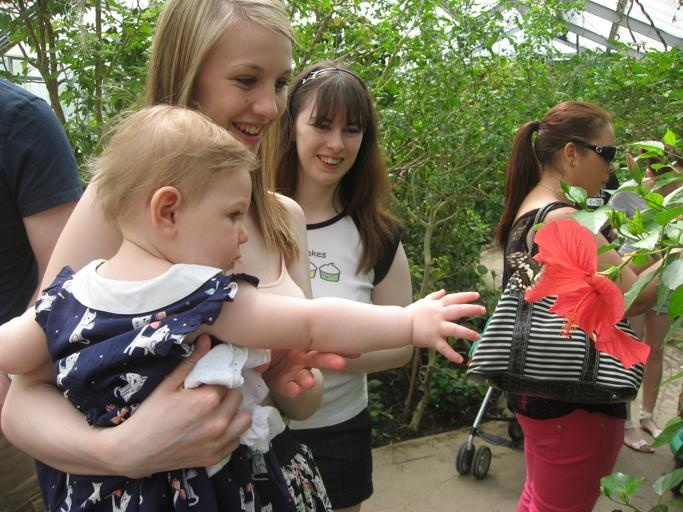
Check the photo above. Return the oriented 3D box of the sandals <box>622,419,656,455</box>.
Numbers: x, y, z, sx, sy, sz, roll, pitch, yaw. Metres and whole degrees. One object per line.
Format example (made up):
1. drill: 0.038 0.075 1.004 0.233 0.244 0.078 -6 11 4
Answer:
1. sandals: 2.287 1.408 4.663 0.103 0.182 0.266 5 -5 -12

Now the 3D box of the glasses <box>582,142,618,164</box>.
1. glasses: 1.325 -0.522 3.071 0.112 0.045 0.111 21 7 6
